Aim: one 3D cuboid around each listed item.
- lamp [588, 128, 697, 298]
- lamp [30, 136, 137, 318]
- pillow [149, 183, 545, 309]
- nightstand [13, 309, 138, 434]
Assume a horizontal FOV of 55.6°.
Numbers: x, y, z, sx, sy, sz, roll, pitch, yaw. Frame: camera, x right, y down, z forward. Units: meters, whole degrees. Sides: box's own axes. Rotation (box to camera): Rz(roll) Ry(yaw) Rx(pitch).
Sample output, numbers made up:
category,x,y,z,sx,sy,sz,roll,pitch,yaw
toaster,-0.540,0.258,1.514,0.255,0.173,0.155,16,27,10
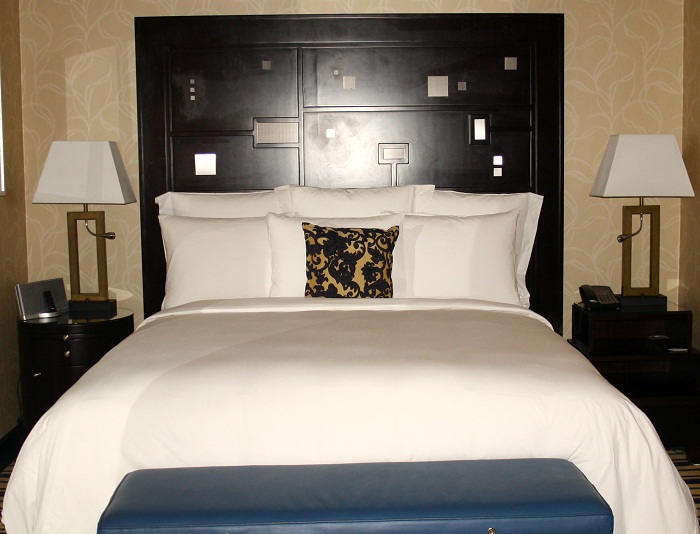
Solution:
category,x,y,z,sx,sy,sz,roll,pitch,yaw
lamp,1.708,-0.320,3.912,0.547,0.945,0.392,3,6,21
lamp,-1.586,-0.245,3.982,0.560,1.017,0.485,-1,6,-19
pillow,-0.082,-0.125,3.795,2.106,0.697,0.704,0,5,-5
nightstand,-1.581,0.601,3.976,0.520,0.710,0.632,-1,-1,-6
